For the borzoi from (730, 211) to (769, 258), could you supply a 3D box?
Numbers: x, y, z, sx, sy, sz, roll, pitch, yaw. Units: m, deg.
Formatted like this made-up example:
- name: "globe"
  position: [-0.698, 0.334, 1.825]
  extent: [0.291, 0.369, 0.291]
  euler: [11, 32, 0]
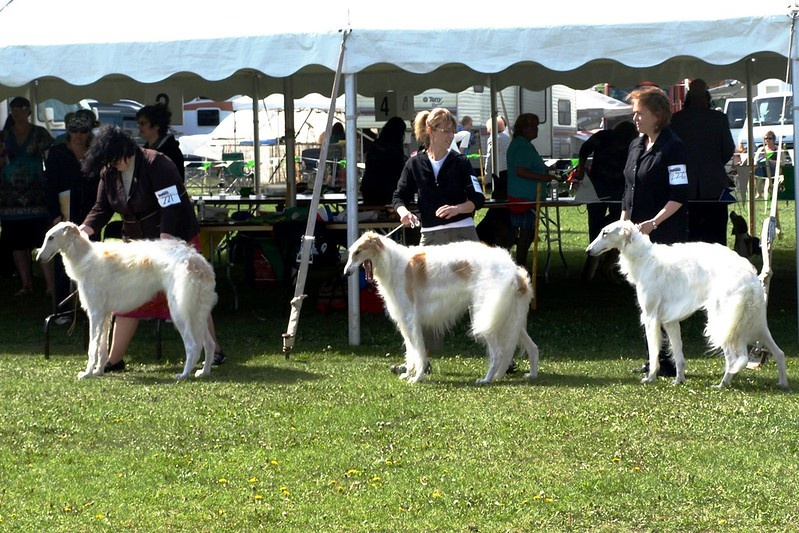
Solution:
- name: "borzoi"
  position: [4.633, -0.363, 16.014]
  extent: [0.277, 0.429, 0.300]
  euler: [-17, 22, 0]

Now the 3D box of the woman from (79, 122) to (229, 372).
- name: "woman"
  position: [-2.683, -0.171, 12.508]
  extent: [1.607, 2.529, 1.203]
  euler: [-2, 9, -14]

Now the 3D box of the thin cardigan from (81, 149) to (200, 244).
- name: "thin cardigan"
  position: [-2.752, -0.688, 12.392]
  extent: [1.208, 1.003, 1.000]
  euler: [1, 12, 31]

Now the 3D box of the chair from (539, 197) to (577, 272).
- name: "chair"
  position: [2.625, -0.574, 20.261]
  extent: [0.824, 1.027, 1.094]
  euler: [-2, 1, 18]

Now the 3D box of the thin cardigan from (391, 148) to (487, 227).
- name: "thin cardigan"
  position: [0.424, -0.846, 12.679]
  extent: [1.007, 0.887, 0.500]
  euler: [-1, -2, 7]

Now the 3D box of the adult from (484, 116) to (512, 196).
- name: "adult"
  position: [1.678, -1.732, 20.407]
  extent: [0.528, 1.744, 0.511]
  euler: [-16, 34, -19]
